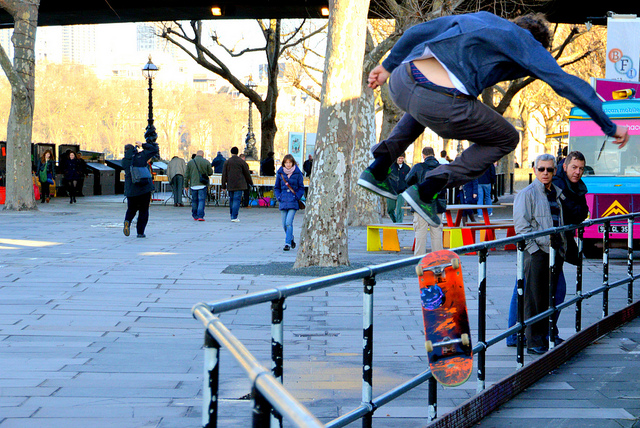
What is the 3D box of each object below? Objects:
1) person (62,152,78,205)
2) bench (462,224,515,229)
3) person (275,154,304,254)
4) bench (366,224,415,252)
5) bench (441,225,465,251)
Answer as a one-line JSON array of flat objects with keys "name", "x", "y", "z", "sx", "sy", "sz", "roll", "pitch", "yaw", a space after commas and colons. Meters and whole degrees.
[{"name": "person", "x": -8.700, "y": -1.352, "z": 36.407, "sx": 0.472, "sy": 1.751, "sz": 1.377, "roll": 0, "pitch": 3, "yaw": -14}, {"name": "bench", "x": 3.430, "y": 0.227, "z": 21.747, "sx": 1.281, "sy": 0.072, "sz": 0.474, "roll": -1, "pitch": 3, "yaw": -26}, {"name": "person", "x": -0.770, "y": -0.261, "z": 22.945, "sx": 0.718, "sy": 1.990, "sz": 0.729, "roll": 0, "pitch": 0, "yaw": 3}, {"name": "bench", "x": 1.364, "y": 0.485, "z": 22.520, "sx": 0.906, "sy": 0.387, "sz": 0.651, "roll": 0, "pitch": 1, "yaw": -3}, {"name": "bench", "x": 2.667, "y": 0.430, "z": 20.838, "sx": 0.481, "sy": 0.518, "sz": 0.589, "roll": -3, "pitch": 6, "yaw": -9}]
